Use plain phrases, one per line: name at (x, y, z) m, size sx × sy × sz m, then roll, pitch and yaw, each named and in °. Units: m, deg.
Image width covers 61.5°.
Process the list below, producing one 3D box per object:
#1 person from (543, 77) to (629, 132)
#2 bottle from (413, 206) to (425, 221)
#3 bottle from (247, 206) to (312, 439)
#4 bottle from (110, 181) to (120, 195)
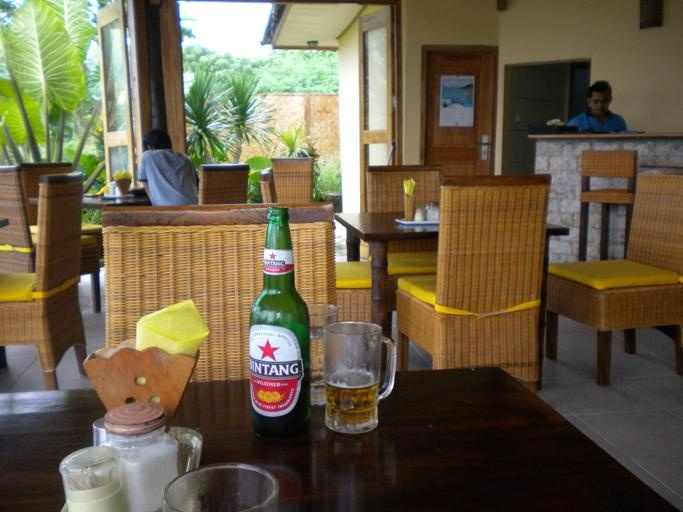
person at (2.292, -1.353, 5.214) m, size 0.554 × 0.489 × 0.751 m, roll 5°, pitch 12°, yaw 30°
bottle at (0.373, -0.198, 2.770) m, size 0.070 × 0.075 × 0.069 m, roll 1°, pitch -5°, yaw -1°
bottle at (-0.088, 0.087, 0.788) m, size 0.089 × 0.312 × 0.145 m, roll -3°, pitch 11°, yaw -10°
bottle at (-1.713, -0.506, 4.286) m, size 0.071 × 0.091 × 0.220 m, roll -5°, pitch 11°, yaw -21°
